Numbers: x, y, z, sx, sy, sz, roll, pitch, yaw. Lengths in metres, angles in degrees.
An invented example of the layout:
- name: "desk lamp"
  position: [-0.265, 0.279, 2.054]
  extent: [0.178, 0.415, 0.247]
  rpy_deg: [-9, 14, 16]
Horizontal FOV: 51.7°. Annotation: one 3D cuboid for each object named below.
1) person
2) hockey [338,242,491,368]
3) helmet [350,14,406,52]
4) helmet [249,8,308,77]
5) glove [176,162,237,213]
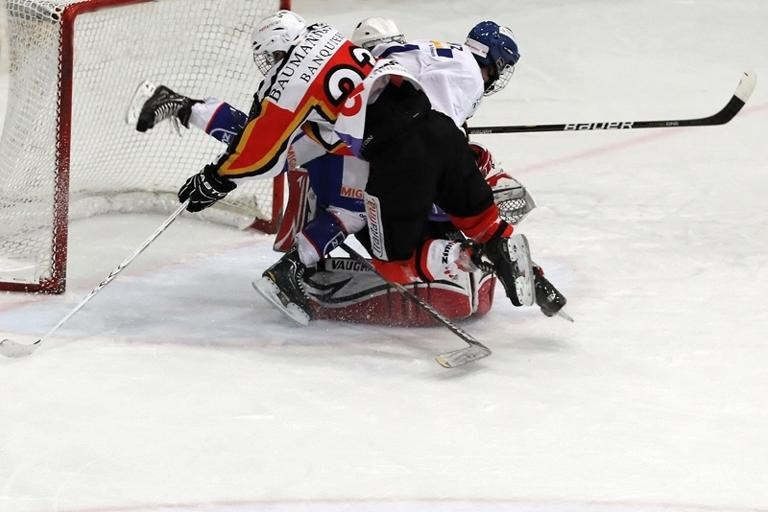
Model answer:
- name: "person"
  position: [-0.275, -0.405, 4.056]
  extent: [2.507, 1.456, 0.892]
  rpy_deg: [25, 36, 22]
- name: "hockey"
  position: [0.084, 0.199, 3.756]
  extent: [0.262, 0.049, 1.046]
  rpy_deg: [-12, 36, -38]
- name: "helmet"
  position: [-0.039, -1.125, 4.076]
  extent: [0.239, 0.196, 0.198]
  rpy_deg: [15, 38, 41]
- name: "helmet"
  position: [-0.485, -0.994, 3.763]
  extent: [0.303, 0.267, 0.232]
  rpy_deg: [-16, 15, 23]
- name: "glove"
  position: [-0.810, -0.322, 3.752]
  extent: [0.162, 0.288, 0.103]
  rpy_deg: [57, 25, 6]
